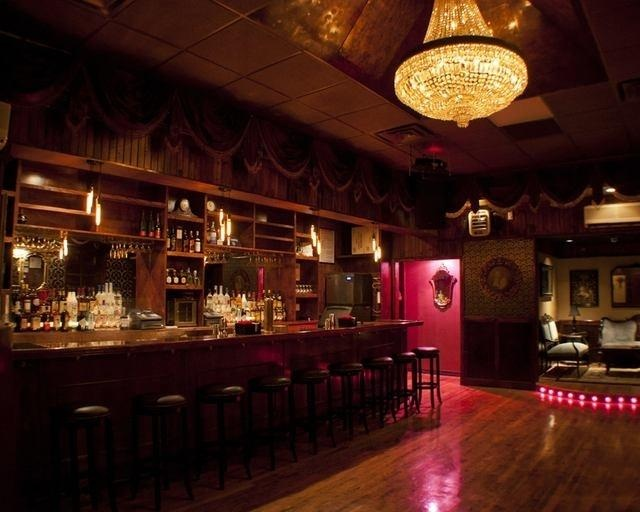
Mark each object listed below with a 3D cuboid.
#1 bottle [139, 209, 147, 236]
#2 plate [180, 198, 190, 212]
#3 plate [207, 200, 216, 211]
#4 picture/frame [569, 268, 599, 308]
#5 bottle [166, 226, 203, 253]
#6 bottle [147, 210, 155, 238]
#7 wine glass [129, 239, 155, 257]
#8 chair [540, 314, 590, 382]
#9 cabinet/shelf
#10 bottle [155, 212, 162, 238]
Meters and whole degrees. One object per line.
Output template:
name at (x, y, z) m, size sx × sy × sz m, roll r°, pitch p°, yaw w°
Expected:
bottle at (-2.322, -0.426, 6.726) m, size 0.102 × 0.385 × 0.325 m, roll 1°, pitch -2°, yaw -19°
plate at (-1.875, -0.693, 7.071) m, size 0.043 × 0.240 × 0.168 m, roll 4°, pitch 0°, yaw 38°
plate at (-1.613, -0.736, 7.571) m, size 0.030 × 0.141 × 0.129 m, roll 0°, pitch -2°, yaw 39°
picture/frame at (6.312, 0.739, 12.202) m, size 0.638 × 1.189 × 0.048 m, roll -1°, pitch 38°, yaw 27°
bottle at (-1.871, -0.210, 7.032) m, size 0.108 × 0.322 × 0.319 m, roll -4°, pitch -5°, yaw 39°
bottle at (-2.231, -0.406, 6.762) m, size 0.080 × 0.354 × 0.272 m, roll 1°, pitch -2°, yaw -19°
wine glass at (-2.390, -0.117, 6.809) m, size 0.225 × 0.228 × 0.072 m, roll 6°, pitch 6°, yaw -26°
chair at (4.797, 1.719, 9.980) m, size 0.820 × 1.067 × 0.690 m, roll -1°, pitch -7°, yaw -39°
cabinet/shelf at (-1.954, -0.017, 7.234) m, size 2.489 × 2.109 × 4.928 m, roll -2°, pitch -3°, yaw 39°
bottle at (-2.134, -0.392, 6.757) m, size 0.089 × 0.356 × 0.189 m, roll 1°, pitch -2°, yaw -18°
